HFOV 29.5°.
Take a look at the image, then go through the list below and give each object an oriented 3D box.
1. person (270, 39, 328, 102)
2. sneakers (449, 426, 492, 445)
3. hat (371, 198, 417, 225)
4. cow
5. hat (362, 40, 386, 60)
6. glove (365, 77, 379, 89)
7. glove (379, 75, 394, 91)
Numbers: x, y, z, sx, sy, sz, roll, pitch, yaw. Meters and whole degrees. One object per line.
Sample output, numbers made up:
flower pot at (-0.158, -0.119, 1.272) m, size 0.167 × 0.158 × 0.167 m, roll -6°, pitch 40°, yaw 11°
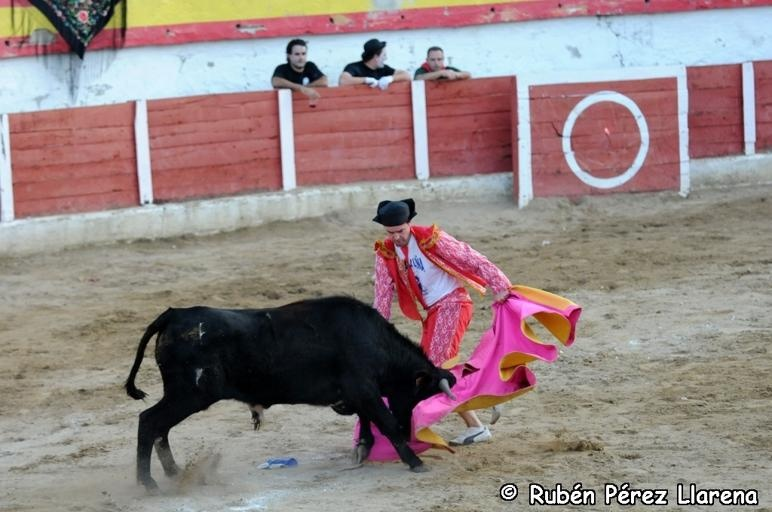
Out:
person at (-1.013, -1.962, 16.687) m, size 0.647 × 0.937 × 0.582 m, roll -7°, pitch 18°, yaw -25°
sneakers at (0.740, 1.527, 12.540) m, size 0.407 × 0.143 × 0.136 m, roll -8°, pitch 5°, yaw -3°
hat at (0.064, -0.369, 12.351) m, size 0.319 × 0.211 × 0.307 m, roll -4°, pitch 20°, yaw 24°
cow at (-0.738, 1.144, 12.240) m, size 2.916 × 1.467 × 0.680 m, roll 0°, pitch -1°, yaw -25°
hat at (-0.151, -2.371, 16.751) m, size 0.295 × 0.223 × 0.235 m, roll -10°, pitch 19°, yaw 7°
glove at (-0.163, -1.969, 16.598) m, size 0.127 × 0.048 × 0.121 m, roll 22°, pitch -3°, yaw -23°
glove at (0.010, -1.974, 16.671) m, size 0.081 × 0.131 × 0.205 m, roll 6°, pitch 25°, yaw 44°
